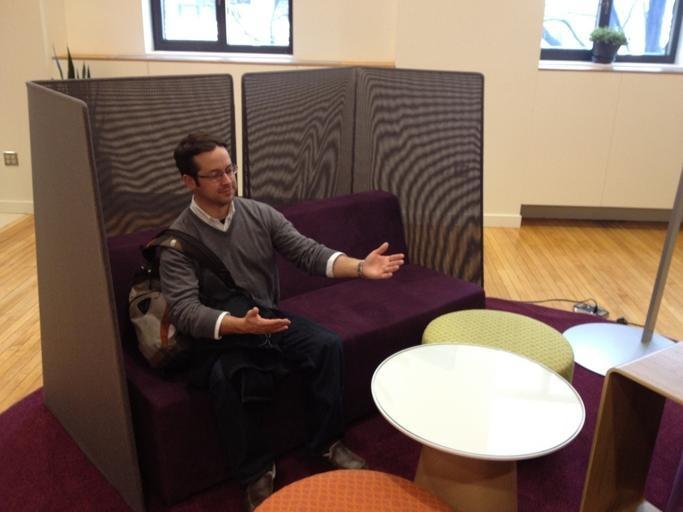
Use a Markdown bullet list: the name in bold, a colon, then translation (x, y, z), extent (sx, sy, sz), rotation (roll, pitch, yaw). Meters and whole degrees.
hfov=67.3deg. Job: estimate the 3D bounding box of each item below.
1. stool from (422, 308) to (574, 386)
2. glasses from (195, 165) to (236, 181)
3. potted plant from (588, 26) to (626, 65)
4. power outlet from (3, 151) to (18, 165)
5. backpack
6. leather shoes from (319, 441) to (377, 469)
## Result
- **stool**: translation (0.739, 0.355, 2.362), extent (0.414, 0.184, 0.448), rotation (3, 23, 4)
- **glasses**: translation (-0.484, -0.347, 2.092), extent (0.078, 0.043, 0.198), rotation (18, 28, 37)
- **potted plant**: translation (2.382, -1.894, 4.594), extent (0.284, 0.300, 0.188), rotation (15, 26, 34)
- **power outlet**: translation (-2.941, -0.879, 4.546), extent (0.105, 0.122, 0.015), rotation (1, 26, -15)
- **backpack**: translation (-0.651, 0.181, 2.047), extent (0.474, 0.529, 0.242), rotation (-2, 21, -5)
- **leather shoes**: translation (0.022, 0.847, 2.171), extent (0.192, 0.150, 0.071), rotation (3, 26, 36)
